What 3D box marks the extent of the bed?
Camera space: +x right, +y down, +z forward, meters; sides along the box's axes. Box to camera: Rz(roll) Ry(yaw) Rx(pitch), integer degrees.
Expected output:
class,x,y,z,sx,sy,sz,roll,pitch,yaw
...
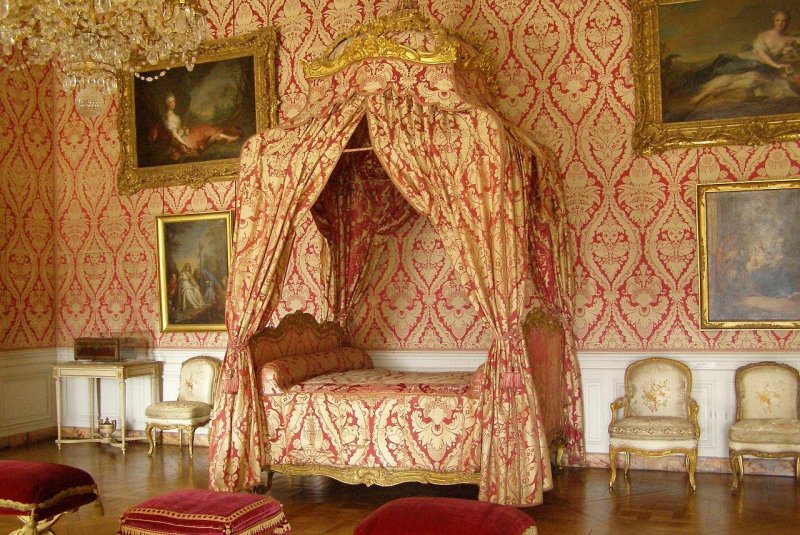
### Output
class,x,y,z,sx,sy,sz,roll,pitch,yaw
bed,0.052,-0.174,7.769,3.541,5.039,2.077,-2,-6,15

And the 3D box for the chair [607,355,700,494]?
class,x,y,z,sx,sy,sz,roll,pitch,yaw
chair,2.706,1.637,7.672,0.874,1.345,0.791,-3,-7,20
